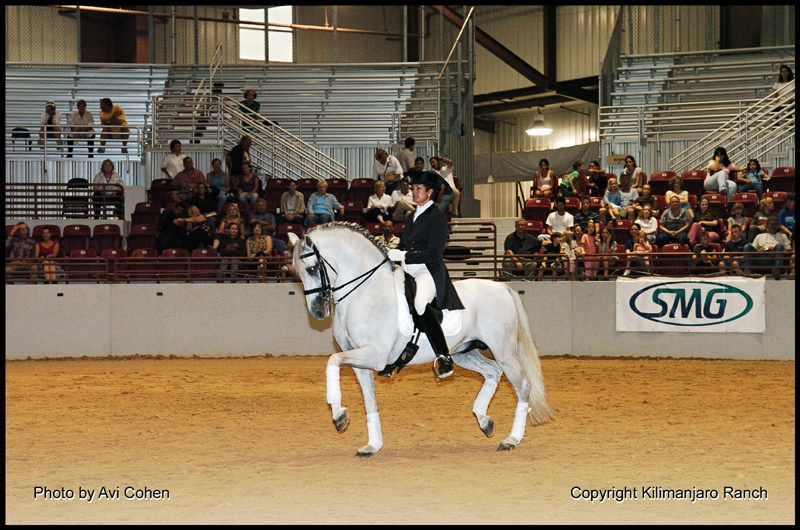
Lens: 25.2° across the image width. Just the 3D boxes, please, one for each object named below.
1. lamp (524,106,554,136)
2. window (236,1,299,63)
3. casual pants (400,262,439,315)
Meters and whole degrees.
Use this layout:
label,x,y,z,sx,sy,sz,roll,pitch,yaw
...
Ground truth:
label,x,y,z,sx,sy,sz,roll,pitch,yaw
lamp,5.893,-5.869,73.004,1.226,1.456,1.256,-1,5,-14
window,-5.363,-9.377,71.387,3.109,3.815,0.201,-1,6,-12
casual pants,0.609,0.633,49.140,0.865,1.353,0.541,1,2,0
